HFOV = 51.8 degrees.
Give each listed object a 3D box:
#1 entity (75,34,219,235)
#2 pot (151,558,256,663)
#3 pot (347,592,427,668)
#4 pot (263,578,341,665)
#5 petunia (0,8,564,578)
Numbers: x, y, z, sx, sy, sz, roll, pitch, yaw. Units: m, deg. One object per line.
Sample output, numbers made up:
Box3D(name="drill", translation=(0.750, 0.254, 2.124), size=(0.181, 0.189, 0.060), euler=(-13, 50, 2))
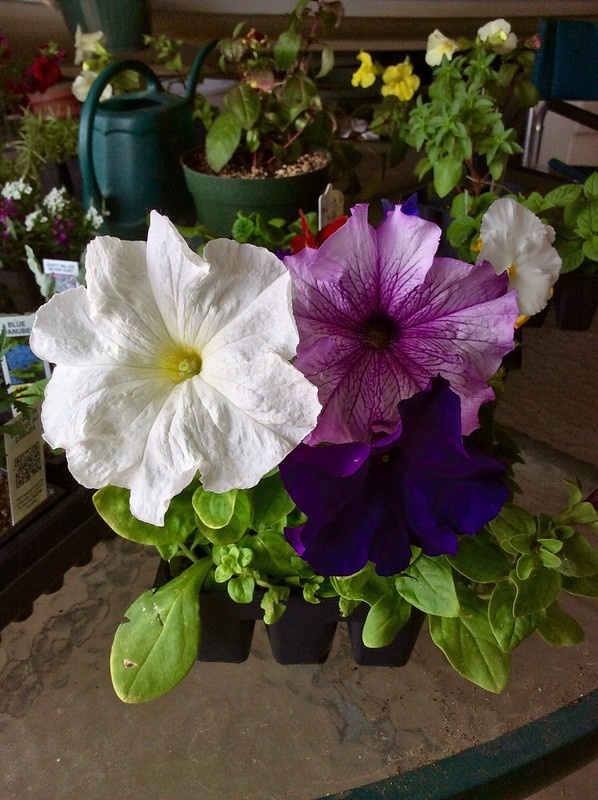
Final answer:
Box3D(name="entity", translation=(-0.260, -0.466, 1.062), size=(0.151, 0.253, 0.360), euler=(21, 46, 14))
Box3D(name="pot", translation=(-0.068, 0.150, 0.498), size=(0.080, 0.080, 0.087), euler=(0, 28, 0))
Box3D(name="pot", translation=(0.063, 0.174, 0.468), size=(0.068, 0.057, 0.042), euler=(4, 75, -9))
Box3D(name="pot", translation=(0.006, 0.156, 0.484), size=(0.067, 0.067, 0.071), euler=(-1, 29, 0))
Box3D(name="petunia", translation=(0.012, -0.061, 0.362), size=(0.207, 0.250, 0.094), euler=(24, 26, -7))
